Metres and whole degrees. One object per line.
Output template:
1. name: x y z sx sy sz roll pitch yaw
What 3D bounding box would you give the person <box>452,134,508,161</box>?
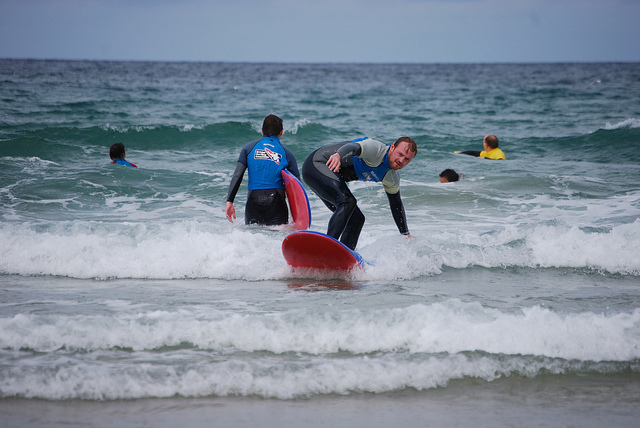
1. person: 4.123 -1.588 20.775 1.050 0.346 0.983 2 7 -14

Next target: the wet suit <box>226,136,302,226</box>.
1. wet suit: -0.974 -0.560 14.381 1.201 1.546 0.595 -4 15 -3
